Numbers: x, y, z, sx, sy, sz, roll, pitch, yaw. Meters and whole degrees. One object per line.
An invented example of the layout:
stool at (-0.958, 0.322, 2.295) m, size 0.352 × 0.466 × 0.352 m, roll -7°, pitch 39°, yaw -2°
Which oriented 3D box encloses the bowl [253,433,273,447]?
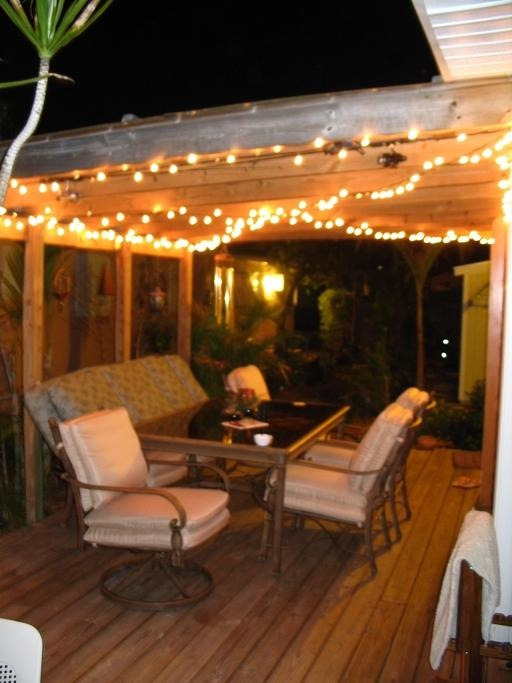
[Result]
bowl at (0.045, 0.617, 3.510) m, size 0.077 × 0.051 × 0.079 m, roll -1°, pitch 0°, yaw 0°

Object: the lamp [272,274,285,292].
lamp at (0.375, -1.027, 9.817) m, size 0.225 × 0.352 × 0.439 m, roll 1°, pitch 2°, yaw 6°

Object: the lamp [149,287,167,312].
lamp at (-1.158, -0.503, 6.549) m, size 0.278 × 0.382 × 0.250 m, roll -3°, pitch 12°, yaw -9°

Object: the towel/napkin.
towel/napkin at (0.952, 1.151, 2.521) m, size 0.266 × 0.491 × 0.687 m, roll 0°, pitch 7°, yaw 16°
